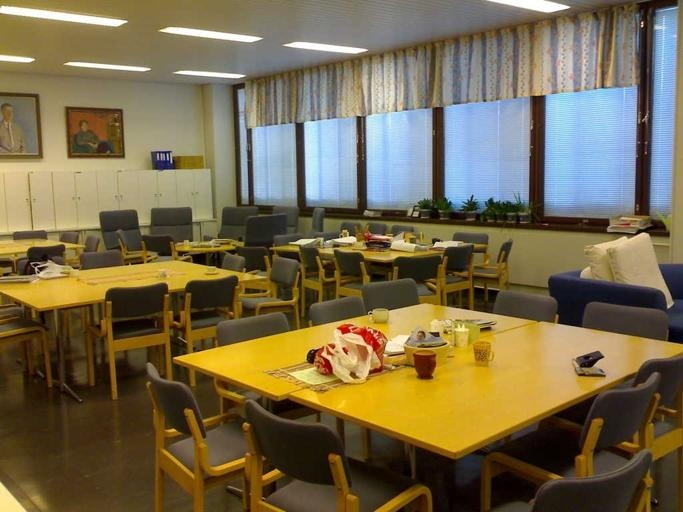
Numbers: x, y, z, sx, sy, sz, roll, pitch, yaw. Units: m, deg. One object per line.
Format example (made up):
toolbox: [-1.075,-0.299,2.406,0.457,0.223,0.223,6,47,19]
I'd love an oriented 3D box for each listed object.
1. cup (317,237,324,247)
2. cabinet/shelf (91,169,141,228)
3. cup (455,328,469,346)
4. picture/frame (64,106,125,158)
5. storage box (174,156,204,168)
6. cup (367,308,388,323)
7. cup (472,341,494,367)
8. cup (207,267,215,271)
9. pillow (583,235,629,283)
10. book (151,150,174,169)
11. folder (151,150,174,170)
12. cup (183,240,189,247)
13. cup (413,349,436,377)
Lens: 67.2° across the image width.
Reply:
cup: [-0.285,-0.183,7.062,0.095,0.157,0.099,2,-3,0]
cabinet/shelf: [-4.476,-1.135,10.164,1.202,1.199,0.452,-4,7,-40]
cup: [0.683,0.470,2.996,0.089,0.100,0.090,0,4,0]
picture/frame: [-5.038,-2.529,10.441,1.118,0.974,0.107,-5,5,-42]
storage box: [-3.344,-2.064,11.353,0.610,0.319,0.247,-7,7,-21]
cup: [0.247,0.392,3.421,0.134,0.088,0.139,-4,7,0]
cup: [0.722,0.512,2.686,0.093,0.131,0.142,-1,0,43]
cup: [-1.368,0.141,5.425,0.054,0.037,0.048,3,-3,-38]
pillow: [2.388,0.048,4.760,0.414,0.418,0.123,-5,-15,5]
book: [-3.833,-2.040,11.056,0.456,0.429,0.108,-6,3,-32]
folder: [-3.824,-2.045,11.059,0.471,0.437,0.113,-6,2,-32]
cup: [-2.362,-0.192,7.945,0.103,0.099,0.101,0,-3,0]
cup: [0.393,0.515,2.454,0.100,0.107,0.122,-1,0,1]
